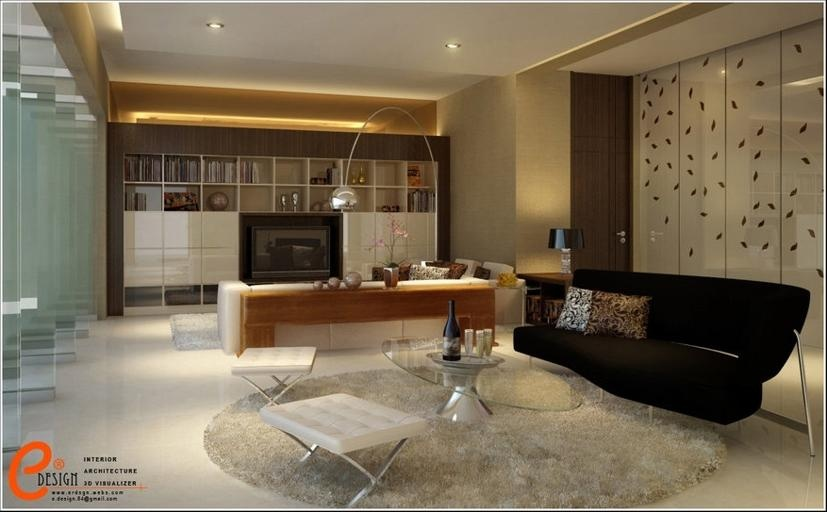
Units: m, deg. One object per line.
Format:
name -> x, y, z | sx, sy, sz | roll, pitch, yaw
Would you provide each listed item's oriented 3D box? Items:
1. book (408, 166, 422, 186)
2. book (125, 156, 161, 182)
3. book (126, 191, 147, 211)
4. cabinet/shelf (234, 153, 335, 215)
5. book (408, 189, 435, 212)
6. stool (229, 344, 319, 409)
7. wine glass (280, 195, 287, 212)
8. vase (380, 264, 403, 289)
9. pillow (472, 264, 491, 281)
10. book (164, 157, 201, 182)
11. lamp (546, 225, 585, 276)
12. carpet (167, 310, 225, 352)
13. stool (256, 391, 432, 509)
book -> 0.012, -1.643, 10.712 | 0.466, 0.397, 0.233 | 1, 4, 7
book -> -4.836, -1.549, 9.381 | 0.512, 0.436, 0.254 | 2, 3, -11
book -> -4.912, -0.979, 9.304 | 0.333, 0.315, 0.169 | -5, 12, -27
cabinet/shelf -> -2.560, -1.393, 10.140 | 1.532, 0.712, 0.292 | 0, 4, -14
book -> 0.165, -1.086, 10.706 | 0.597, 0.534, 0.425 | 0, 3, -4
stool -> -1.298, 1.057, 4.962 | 0.658, 0.459, 0.633 | 1, 2, -4
wine glass -> -2.532, -1.056, 10.255 | 0.130, 0.295, 0.102 | -2, 11, -12
vase -> -0.325, 0.253, 6.838 | 0.285, 0.319, 0.276 | 1, -1, -15
pillow -> 1.119, 0.256, 8.542 | 0.229, 0.202, 0.067 | 15, -16, 46
book -> -4.231, -1.478, 9.636 | 0.470, 0.593, 0.656 | -2, 5, -42
lamp -> 2.563, -0.070, 8.341 | 0.733, 0.851, 0.722 | 0, 2, 26
carpet -> -3.173, 1.112, 7.717 | 0.761, 0.168, 0.751 | 1, 4, -31
stool -> -0.504, 1.221, 3.861 | 0.698, 0.452, 1.018 | 5, -3, -36
